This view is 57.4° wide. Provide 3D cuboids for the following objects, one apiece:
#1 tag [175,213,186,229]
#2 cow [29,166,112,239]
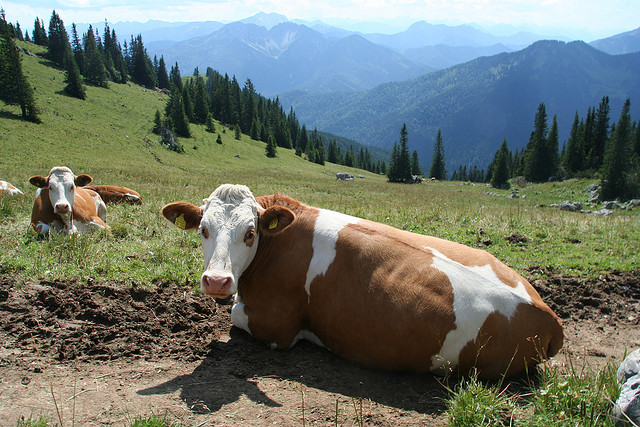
[{"bbox_3d":[-4.466,0.209,18.634,0.302,0.603,0.062,13,12,5],"label":"tag"},{"bbox_3d":[-10.431,-0.565,24.099,2.493,2.655,2.915,12,13,42],"label":"cow"}]
